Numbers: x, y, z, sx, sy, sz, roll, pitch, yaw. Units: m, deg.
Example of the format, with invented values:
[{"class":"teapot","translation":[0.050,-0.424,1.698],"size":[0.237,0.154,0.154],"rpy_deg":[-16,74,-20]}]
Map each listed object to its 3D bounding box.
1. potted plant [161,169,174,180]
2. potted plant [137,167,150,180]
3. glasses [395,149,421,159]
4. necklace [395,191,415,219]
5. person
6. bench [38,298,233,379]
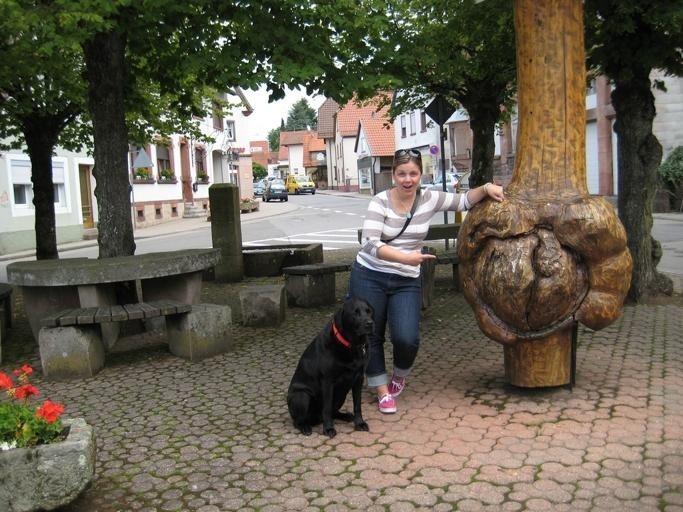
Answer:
[{"class":"potted plant","translation":[-10.274,-4.865,32.905],"size":[0.624,0.506,0.633],"rpy_deg":[-2,2,26]},{"class":"potted plant","translation":[-10.523,-4.425,29.686],"size":[0.447,0.689,1.125],"rpy_deg":[-3,8,6]},{"class":"glasses","translation":[0.546,-0.843,4.527],"size":[0.200,0.093,0.351],"rpy_deg":[-2,8,5]},{"class":"necklace","translation":[0.538,-0.418,4.528],"size":[0.188,0.156,0.098],"rpy_deg":[-4,8,-2]},{"class":"person","translation":[0.512,0.222,4.609],"size":[1.106,2.219,0.847],"rpy_deg":[-10,10,-36]},{"class":"bench","translation":[-2.264,0.887,6.219],"size":[1.958,0.705,0.713],"rpy_deg":[-7,9,-26]}]
